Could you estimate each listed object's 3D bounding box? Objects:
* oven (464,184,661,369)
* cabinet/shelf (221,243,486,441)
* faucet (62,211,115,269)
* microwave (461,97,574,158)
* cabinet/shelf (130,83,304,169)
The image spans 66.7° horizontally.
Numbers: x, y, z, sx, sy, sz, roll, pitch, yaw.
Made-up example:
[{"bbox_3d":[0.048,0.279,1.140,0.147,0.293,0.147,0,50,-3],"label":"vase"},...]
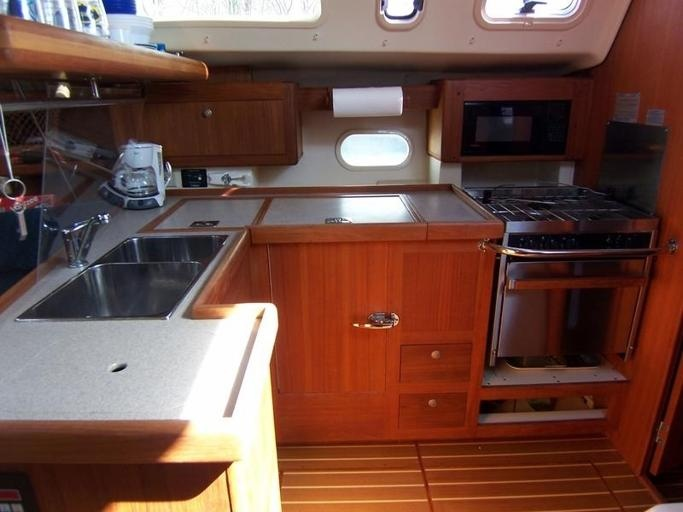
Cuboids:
[{"bbox_3d":[0.928,0.079,2.613,1.089,0.797,0.970,-2,-67,-1],"label":"oven"},{"bbox_3d":[0.064,0.308,2.121,1.139,0.375,0.715,-1,-68,0],"label":"cabinet/shelf"},{"bbox_3d":[-0.889,-0.043,1.824,0.206,0.076,0.158,-14,-97,15],"label":"faucet"},{"bbox_3d":[0.811,-0.704,2.837,0.765,0.352,0.350,-7,-76,-25],"label":"microwave"},{"bbox_3d":[-0.587,-0.724,2.876,0.859,0.414,0.401,3,-68,15],"label":"cabinet/shelf"}]
